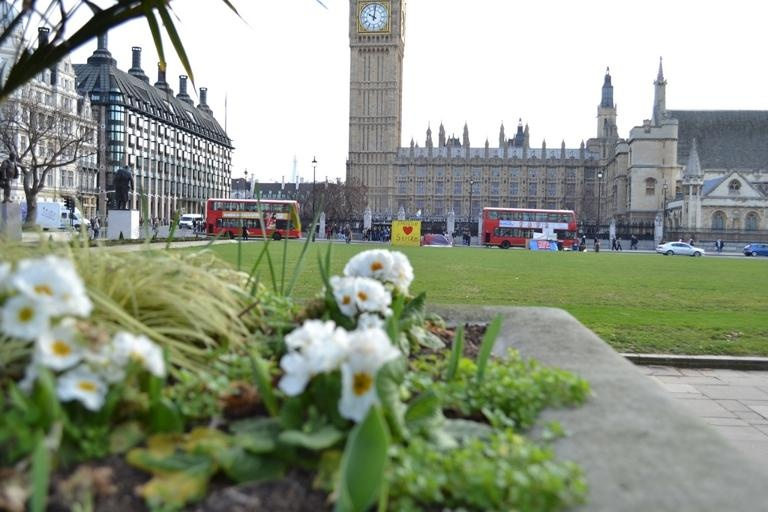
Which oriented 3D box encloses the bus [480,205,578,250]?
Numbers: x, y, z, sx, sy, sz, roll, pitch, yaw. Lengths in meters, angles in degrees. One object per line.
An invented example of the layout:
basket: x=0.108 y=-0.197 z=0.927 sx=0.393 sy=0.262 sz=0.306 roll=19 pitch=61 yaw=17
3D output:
bus: x=8.435 y=-1.683 z=44.136 sx=5.751 sy=2.961 sz=2.357 roll=0 pitch=4 yaw=3

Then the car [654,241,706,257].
car: x=15.744 y=-0.334 z=39.629 sx=2.244 sy=0.815 sz=1.180 roll=1 pitch=3 yaw=14
